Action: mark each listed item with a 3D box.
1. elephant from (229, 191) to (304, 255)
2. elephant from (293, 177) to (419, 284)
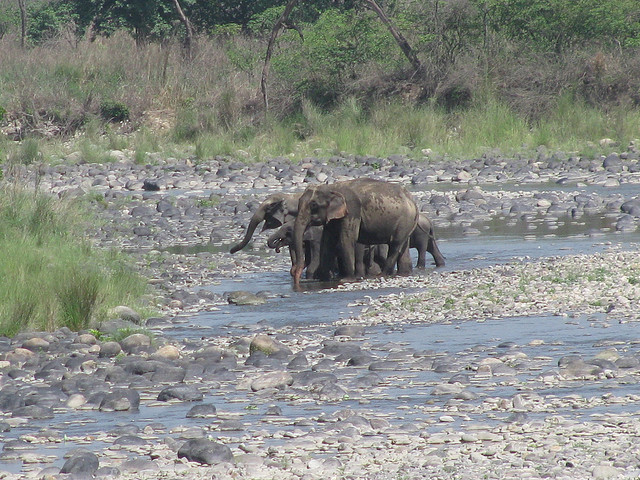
[{"bbox_3d":[-0.735,-0.301,21.132,0.560,0.811,1.735,15,15,36],"label":"elephant"},{"bbox_3d":[0.486,-0.101,20.275,2.203,1.420,0.822,-3,1,-25],"label":"elephant"}]
